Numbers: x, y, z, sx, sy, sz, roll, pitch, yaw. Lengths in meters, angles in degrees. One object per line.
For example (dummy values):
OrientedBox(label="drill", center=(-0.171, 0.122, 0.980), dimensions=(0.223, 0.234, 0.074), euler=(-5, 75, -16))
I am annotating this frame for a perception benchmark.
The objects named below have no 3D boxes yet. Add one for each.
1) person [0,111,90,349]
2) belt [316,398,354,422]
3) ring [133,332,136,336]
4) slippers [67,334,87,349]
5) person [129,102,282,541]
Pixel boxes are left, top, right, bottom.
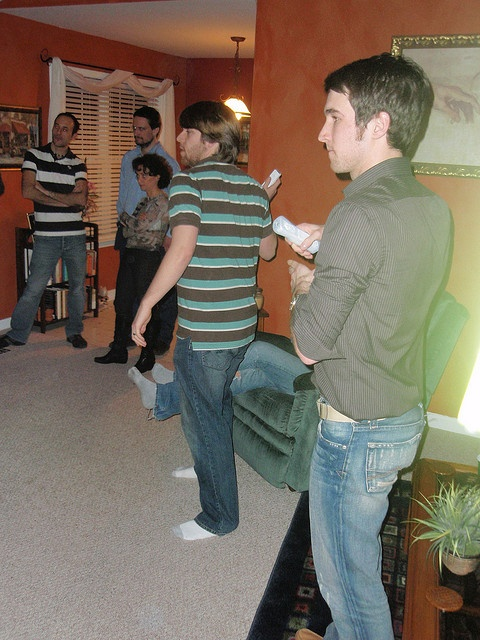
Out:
OrientedBox(label="person", center=(-1.645, -0.740, 4.468), dimensions=(0.737, 1.960, 0.422), euler=(-4, 17, -30))
OrientedBox(label="belt", center=(0.208, 0.196, 1.144), dimensions=(0.054, 0.019, 0.051), euler=(15, -2, -14))
OrientedBox(label="ring", center=(-0.421, 0.055, 2.070), dimensions=(0.013, 0.012, 0.004), euler=(-1, 1, 13))
OrientedBox(label="slippers", center=(-1.454, 0.188, 4.663), dimensions=(0.084, 0.080, 0.214), euler=(-6, 12, -37))
OrientedBox(label="person", center=(-0.141, 0.067, 2.132), dimensions=(0.409, 1.806, 0.504), euler=(13, 17, 31))
